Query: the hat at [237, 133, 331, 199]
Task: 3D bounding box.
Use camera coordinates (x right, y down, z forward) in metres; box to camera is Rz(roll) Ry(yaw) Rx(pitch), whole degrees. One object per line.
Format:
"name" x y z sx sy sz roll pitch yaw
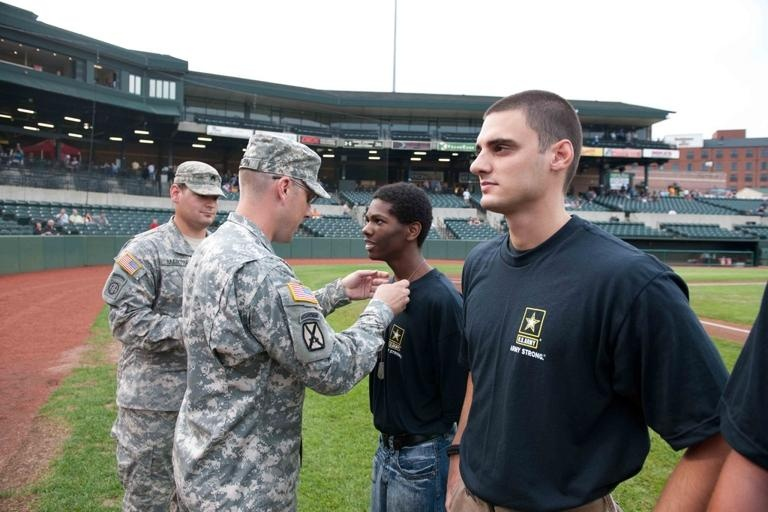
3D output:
"hat" -0.757 -0.743 4.911 0.660 0.329 0.451 17 1 -17

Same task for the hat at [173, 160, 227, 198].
"hat" -1.903 -0.792 6.412 0.465 0.234 0.344 10 0 25
